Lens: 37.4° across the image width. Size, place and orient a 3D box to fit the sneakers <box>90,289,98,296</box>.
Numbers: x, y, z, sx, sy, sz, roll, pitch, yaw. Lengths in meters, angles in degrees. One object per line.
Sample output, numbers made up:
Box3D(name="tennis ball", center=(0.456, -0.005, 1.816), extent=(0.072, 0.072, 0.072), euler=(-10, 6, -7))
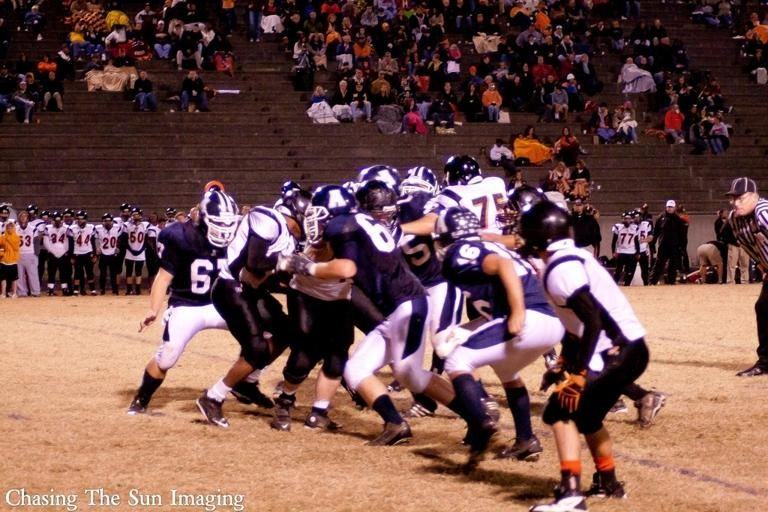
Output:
Box3D(name="sneakers", center=(-8.029, 0.977, 31.062), extent=(0.122, 0.109, 0.275), euler=(2, -7, -29))

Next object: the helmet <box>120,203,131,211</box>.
Box3D(name="helmet", center=(-7.222, -1.396, 31.315), extent=(0.248, 0.173, 0.351), euler=(14, -8, -32))

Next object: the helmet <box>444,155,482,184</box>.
Box3D(name="helmet", center=(1.424, -1.625, 21.141), extent=(0.512, 0.532, 0.609), euler=(-6, 23, -27))

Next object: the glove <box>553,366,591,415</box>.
Box3D(name="glove", center=(2.943, 2.105, 17.878), extent=(0.536, 0.692, 0.218), euler=(-1, -1, 9))

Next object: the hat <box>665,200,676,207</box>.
Box3D(name="hat", center=(8.087, -1.487, 31.903), extent=(0.247, 0.175, 0.384), euler=(-10, -8, 30))

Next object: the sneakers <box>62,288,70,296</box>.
Box3D(name="sneakers", center=(-8.785, 0.974, 30.935), extent=(0.230, 0.077, 0.160), euler=(2, -17, -9))

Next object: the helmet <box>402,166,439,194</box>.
Box3D(name="helmet", center=(0.657, -1.460, 20.973), extent=(0.513, 0.503, 0.604), euler=(1, -29, 12))

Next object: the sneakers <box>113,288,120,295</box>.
Box3D(name="sneakers", center=(-7.386, 0.949, 30.916), extent=(0.177, 0.171, 0.165), euler=(0, -5, -16))

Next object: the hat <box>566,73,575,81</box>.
Box3D(name="hat", center=(5.939, -5.663, 35.983), extent=(0.244, 0.198, 0.321), euler=(-3, 10, 2))

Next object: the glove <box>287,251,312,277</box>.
Box3D(name="glove", center=(-1.445, 0.126, 19.164), extent=(0.393, 0.369, 0.321), euler=(-1, -1, 3))

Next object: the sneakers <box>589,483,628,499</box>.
Box3D(name="sneakers", center=(3.589, 3.745, 18.293), extent=(0.706, 0.268, 0.226), euler=(6, -4, 7))

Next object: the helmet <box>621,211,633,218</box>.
Box3D(name="helmet", center=(6.875, -1.186, 31.942), extent=(0.337, 0.201, 0.266), euler=(14, 7, 43))

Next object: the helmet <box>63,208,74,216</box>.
Box3D(name="helmet", center=(-8.812, -1.216, 31.313), extent=(0.286, 0.128, 0.378), euler=(0, 2, -10))

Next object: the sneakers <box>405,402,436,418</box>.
Box3D(name="sneakers", center=(0.624, 2.731, 20.422), extent=(0.442, 0.164, 0.260), euler=(2, 0, 15))
